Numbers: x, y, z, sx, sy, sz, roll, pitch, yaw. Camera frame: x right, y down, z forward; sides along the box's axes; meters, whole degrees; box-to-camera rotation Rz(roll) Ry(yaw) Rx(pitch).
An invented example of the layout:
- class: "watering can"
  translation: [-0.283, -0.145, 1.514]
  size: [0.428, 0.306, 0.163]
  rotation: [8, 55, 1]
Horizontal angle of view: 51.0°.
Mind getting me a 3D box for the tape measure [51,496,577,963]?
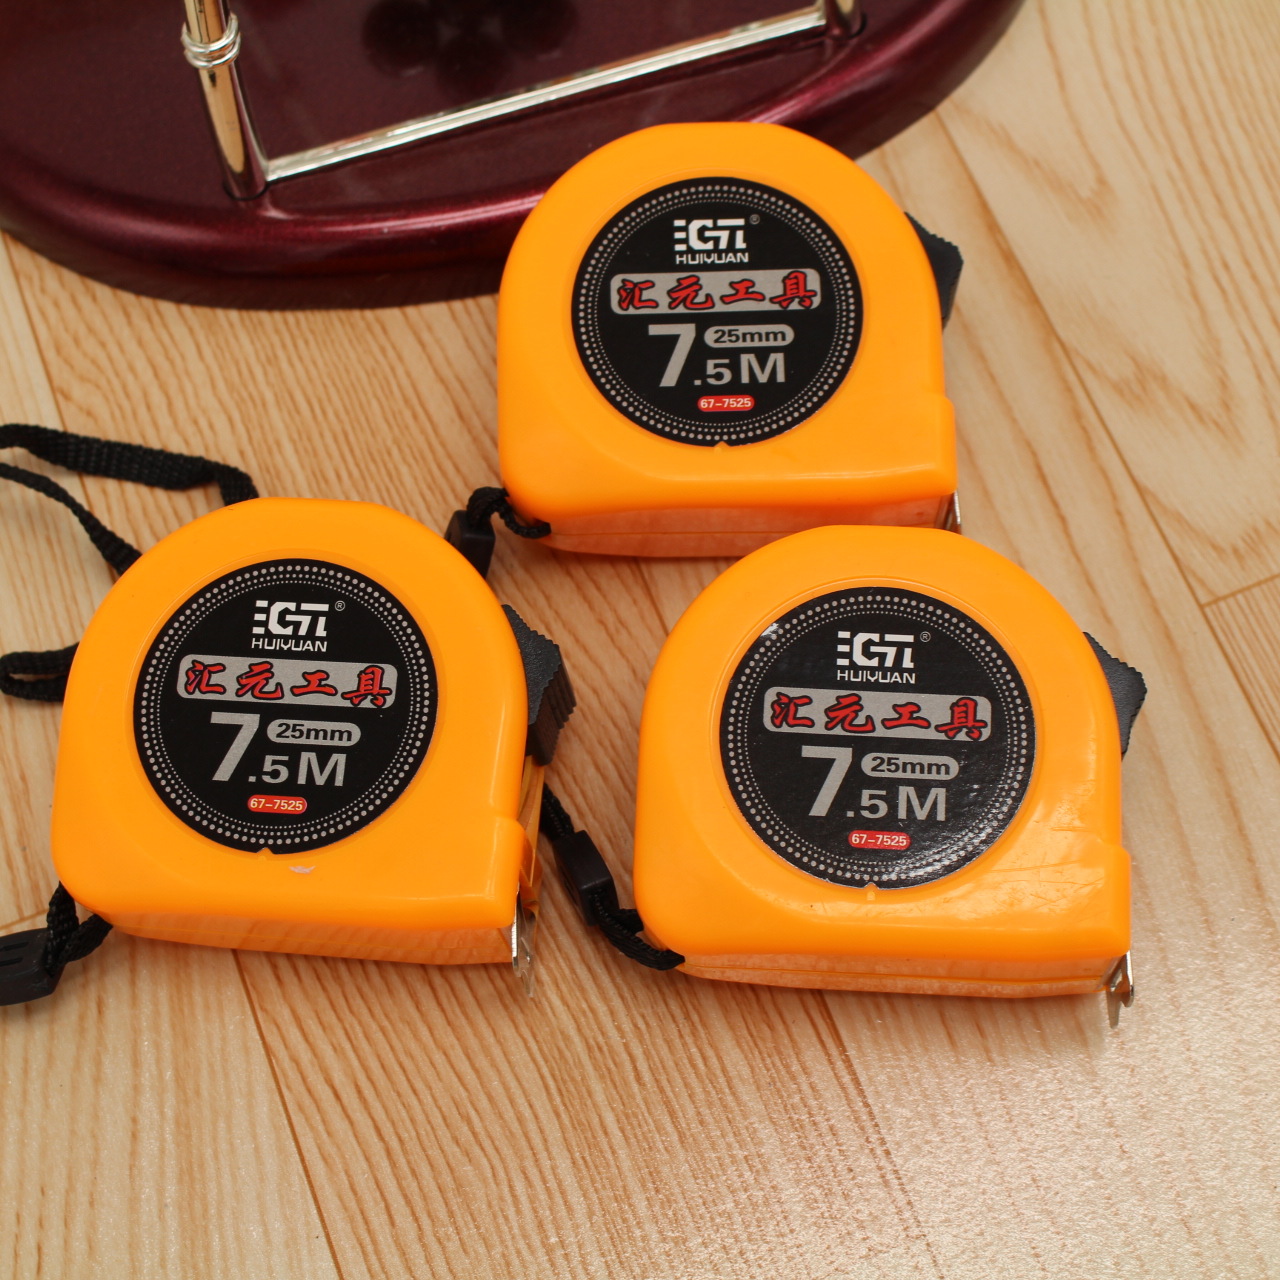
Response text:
- class: "tape measure"
  translation: [-0.181, 0.048, 0.721]
  size: [0.314, 0.079, 0.232]
  rotation: [0, 75, 2]
